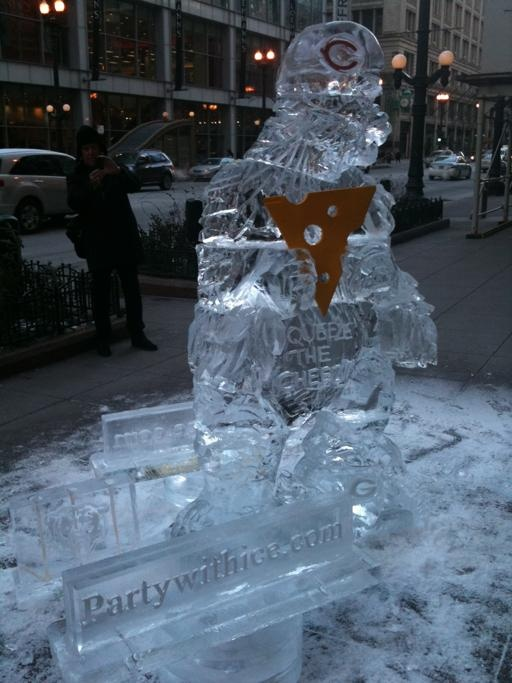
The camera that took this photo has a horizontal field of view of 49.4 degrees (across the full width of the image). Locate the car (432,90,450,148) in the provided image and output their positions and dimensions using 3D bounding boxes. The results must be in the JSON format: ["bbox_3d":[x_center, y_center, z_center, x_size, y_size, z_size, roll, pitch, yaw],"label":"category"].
[{"bbox_3d":[20.272,-24.802,60.568,1.265,3.402,1.120,-14,20,-16],"label":"car"}]

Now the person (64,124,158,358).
[{"bbox_3d":[-1.355,-0.875,5.212,0.703,2.089,0.786,-6,15,-16],"label":"person"}]

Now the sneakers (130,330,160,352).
[{"bbox_3d":[-1.062,0.008,5.590,0.366,0.209,0.136,4,13,22],"label":"sneakers"}]
